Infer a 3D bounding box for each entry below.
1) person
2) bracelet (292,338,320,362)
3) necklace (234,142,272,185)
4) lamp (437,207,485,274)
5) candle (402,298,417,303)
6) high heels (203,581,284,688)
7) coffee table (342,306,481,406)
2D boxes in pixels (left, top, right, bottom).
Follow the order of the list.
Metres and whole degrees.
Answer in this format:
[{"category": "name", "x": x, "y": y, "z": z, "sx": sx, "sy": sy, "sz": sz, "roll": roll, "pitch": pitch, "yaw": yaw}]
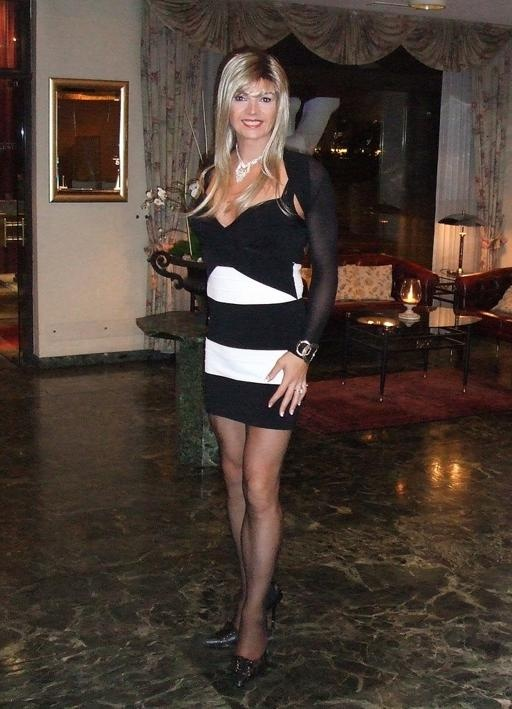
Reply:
[{"category": "person", "x": -0.001, "y": 0.034, "z": 1.647, "sx": 0.222, "sy": 1.464, "sz": 0.354, "roll": -5, "pitch": 10, "yaw": -40}, {"category": "bracelet", "x": 0.128, "y": -0.011, "z": 1.570, "sx": 0.044, "sy": 0.054, "sz": 0.110, "roll": 4, "pitch": 8, "yaw": 21}, {"category": "necklace", "x": -0.020, "y": -0.465, "z": 1.599, "sx": 0.053, "sy": 0.081, "sz": 0.004, "roll": 22, "pitch": -1, "yaw": 35}, {"category": "lamp", "x": 2.436, "y": -1.325, "z": 7.892, "sx": 0.498, "sy": 0.737, "sz": 0.929, "roll": 3, "pitch": 8, "yaw": 16}, {"category": "candle", "x": 1.346, "y": -0.462, "z": 5.742, "sx": 0.131, "sy": 0.058, "sz": 0.108, "roll": 2, "pitch": 7, "yaw": 9}, {"category": "high heels", "x": -0.025, "y": 0.830, "z": 1.966, "sx": 0.126, "sy": 0.139, "sz": 0.381, "roll": -6, "pitch": -6, "yaw": 19}, {"category": "coffee table", "x": 1.301, "y": -0.191, "z": 5.573, "sx": 1.228, "sy": 0.562, "sz": 1.026, "roll": 13, "pitch": 18, "yaw": 42}]
